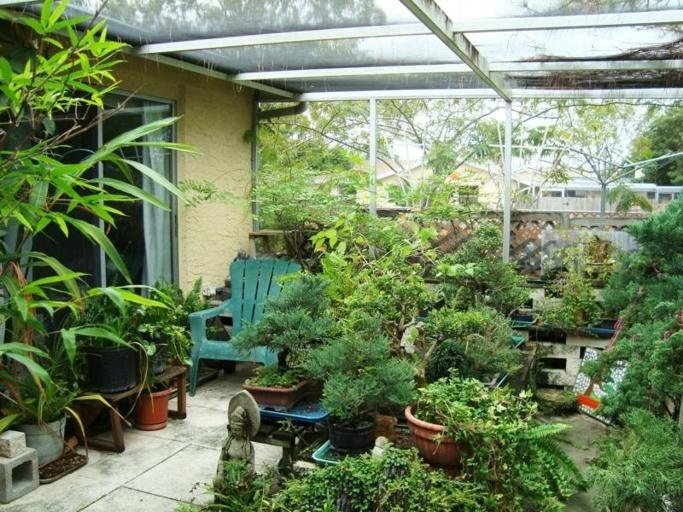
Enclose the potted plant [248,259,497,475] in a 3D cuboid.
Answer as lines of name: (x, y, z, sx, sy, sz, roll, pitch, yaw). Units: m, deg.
potted plant: (0.102, 0.627, 3.634, 1.286, 0.774, 1.209, 2, 3, 9)
